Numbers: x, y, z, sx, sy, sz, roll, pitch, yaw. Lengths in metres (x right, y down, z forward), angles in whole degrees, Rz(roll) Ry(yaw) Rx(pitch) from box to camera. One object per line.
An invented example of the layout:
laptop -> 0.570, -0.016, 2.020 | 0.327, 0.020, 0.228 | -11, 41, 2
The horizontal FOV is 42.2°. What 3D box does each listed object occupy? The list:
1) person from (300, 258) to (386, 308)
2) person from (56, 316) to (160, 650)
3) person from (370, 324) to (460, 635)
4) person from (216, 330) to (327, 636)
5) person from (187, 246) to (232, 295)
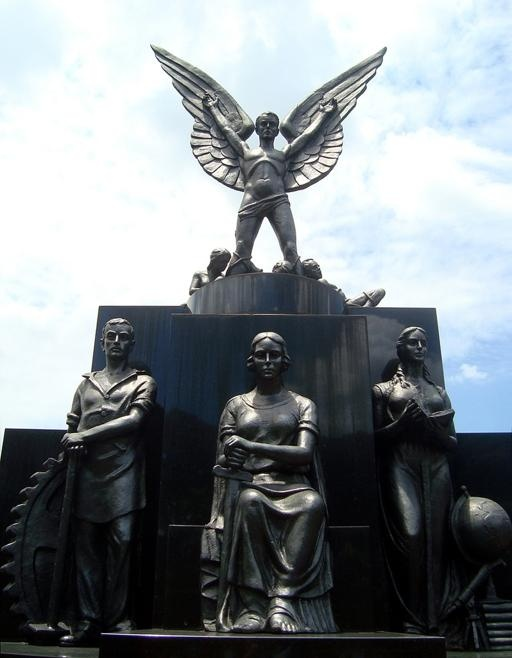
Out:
person -> 1.301, -0.673, 10.817 | 1.821, 0.847, 0.559 | -6, 1, -25
person -> -1.716, 1.565, 7.725 | 1.020, 3.680, 1.106 | 9, -13, -34
person -> 1.903, 1.655, 8.036 | 0.903, 3.634, 1.131 | -4, -12, 30
person -> 0.183, 1.261, 6.174 | 1.059, 2.780, 1.591 | 3, -11, -3
person -> -0.700, -0.876, 10.606 | 0.576, 0.837, 0.445 | 14, -16, -15
